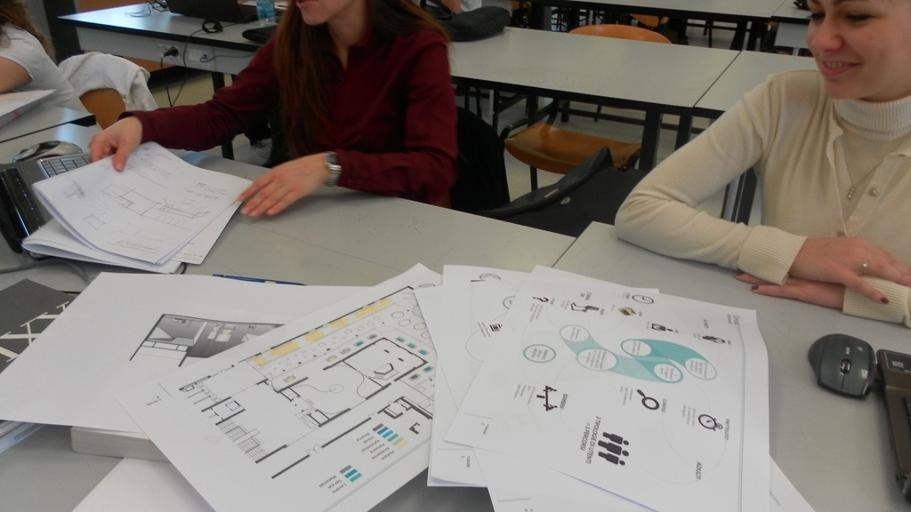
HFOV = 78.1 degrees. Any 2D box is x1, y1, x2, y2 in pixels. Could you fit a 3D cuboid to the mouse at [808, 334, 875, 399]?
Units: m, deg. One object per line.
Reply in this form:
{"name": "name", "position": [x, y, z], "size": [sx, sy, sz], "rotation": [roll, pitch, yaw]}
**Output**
{"name": "mouse", "position": [0.832, 0.210, 1.204], "size": [0.126, 0.047, 0.159], "rotation": [6, 48, 20]}

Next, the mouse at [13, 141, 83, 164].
{"name": "mouse", "position": [-1.250, -0.330, 1.744], "size": [0.166, 0.047, 0.097], "rotation": [-13, 30, -26]}
